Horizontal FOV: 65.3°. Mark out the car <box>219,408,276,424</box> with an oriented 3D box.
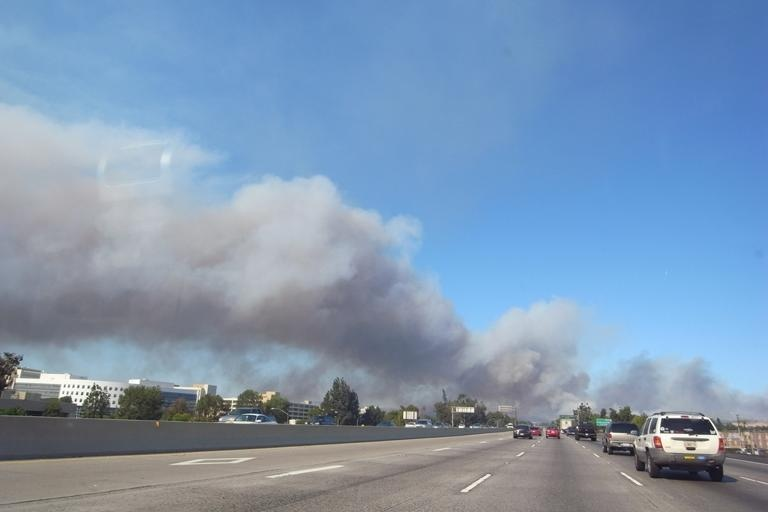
[{"bbox_3d":[-8.851,10.444,38.904,2.712,0.960,2.034,-7,-16,29],"label":"car"}]
